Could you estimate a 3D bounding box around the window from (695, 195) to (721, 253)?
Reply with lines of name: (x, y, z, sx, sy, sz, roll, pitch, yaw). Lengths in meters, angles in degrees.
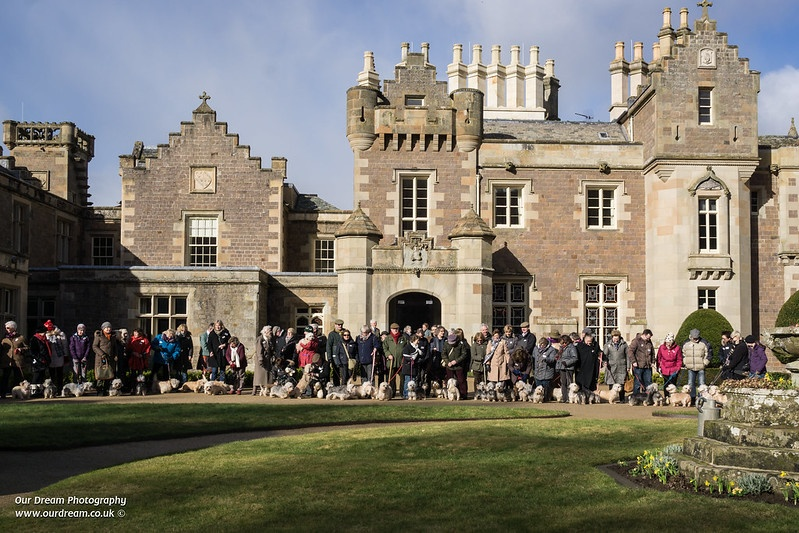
window: (12.250, -1.646, 55.802, 0.893, 2.336, 0.125, 0, 23, 14)

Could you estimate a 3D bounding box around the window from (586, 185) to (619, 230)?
window: (8.237, -2.419, 57.510, 1.369, 1.722, 0.218, 0, -1, -13)

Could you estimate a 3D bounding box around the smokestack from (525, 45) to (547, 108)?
smokestack: (7.819, -10.980, 81.760, 1.134, 3.661, 1.212, 0, 0, 42)

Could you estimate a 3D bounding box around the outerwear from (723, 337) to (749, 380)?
outerwear: (11.219, 2.981, 46.881, 0.814, 1.527, 0.576, -1, -6, 15)

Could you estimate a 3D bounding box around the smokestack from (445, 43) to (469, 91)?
smokestack: (3.455, -11.638, 83.774, 1.513, 3.296, 1.373, 0, 0, -13)

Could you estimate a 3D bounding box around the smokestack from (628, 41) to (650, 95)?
smokestack: (12.005, -9.737, 70.425, 1.297, 3.031, 1.191, -1, -3, 10)

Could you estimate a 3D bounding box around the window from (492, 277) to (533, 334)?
window: (4.434, 1.619, 55.780, 2.418, 3.002, 0.245, 1, -9, -4)

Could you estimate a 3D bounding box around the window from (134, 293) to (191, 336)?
window: (-9.305, 1.934, 55.043, 2.195, 1.806, 0.157, 0, -1, 9)

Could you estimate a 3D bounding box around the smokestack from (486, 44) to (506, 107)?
smokestack: (5.861, -11.242, 83.244, 1.190, 3.765, 1.123, -7, 8, -21)

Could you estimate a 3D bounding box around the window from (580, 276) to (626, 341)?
window: (8.180, 1.841, 56.938, 1.436, 2.474, 0.125, 0, -25, 10)

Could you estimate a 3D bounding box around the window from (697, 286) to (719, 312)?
window: (12.085, 1.315, 55.161, 1.026, 1.332, 0.091, -1, 1, 0)

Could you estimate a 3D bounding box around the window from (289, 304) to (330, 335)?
window: (-3.606, 2.109, 55.742, 1.319, 1.297, 0.067, 0, -10, 2)

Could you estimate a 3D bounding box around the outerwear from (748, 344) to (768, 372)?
outerwear: (12.012, 3.137, 47.314, 0.505, 1.093, 1.032, -4, -8, 37)

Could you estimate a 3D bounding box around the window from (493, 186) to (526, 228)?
window: (4.424, -2.391, 57.294, 1.800, 2.219, 0.240, 1, -9, -6)
